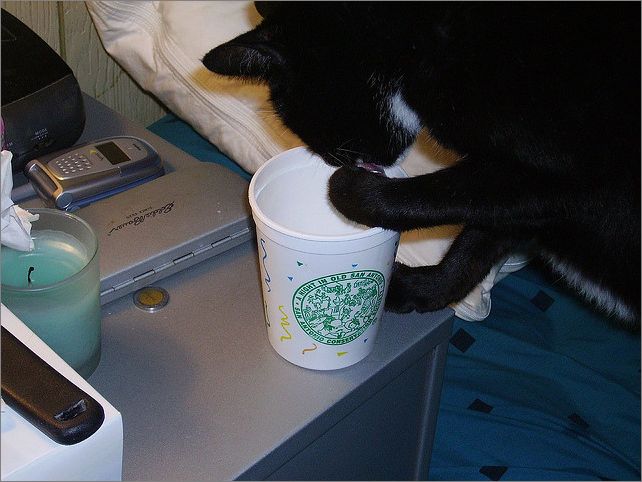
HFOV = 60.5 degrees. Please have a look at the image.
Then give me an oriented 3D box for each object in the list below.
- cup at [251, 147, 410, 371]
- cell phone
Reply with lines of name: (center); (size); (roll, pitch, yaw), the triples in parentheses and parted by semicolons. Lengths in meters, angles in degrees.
cup: (0.026, 0.008, 0.623); (0.185, 0.216, 0.207); (-2, 42, -5)
cell phone: (-0.310, -0.117, 0.717); (0.140, 0.035, 0.105); (-21, 46, -24)
